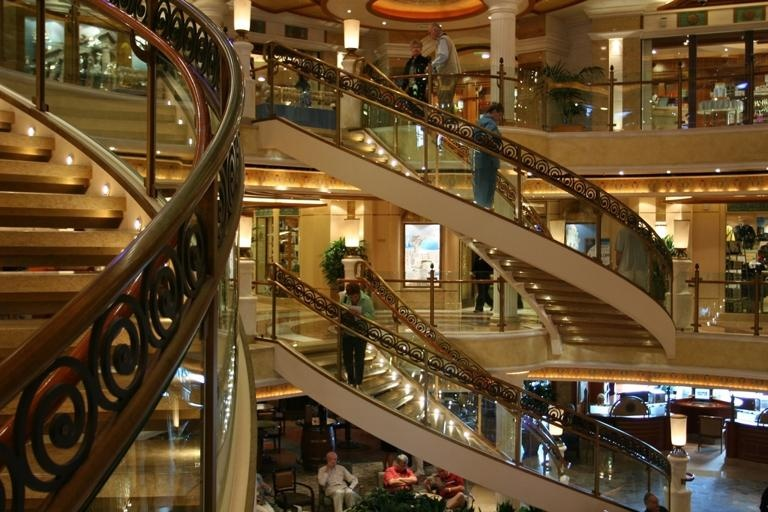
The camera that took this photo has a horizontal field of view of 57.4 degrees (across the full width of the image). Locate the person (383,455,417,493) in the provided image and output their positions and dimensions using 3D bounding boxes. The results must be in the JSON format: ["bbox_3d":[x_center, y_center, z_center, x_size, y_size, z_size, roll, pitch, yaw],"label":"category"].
[{"bbox_3d":[0.230,3.476,10.798,0.477,0.797,0.388,2,-7,-15],"label":"person"}]

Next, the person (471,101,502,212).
[{"bbox_3d":[1.298,-1.247,8.981,0.332,1.284,0.733,1,4,8],"label":"person"}]

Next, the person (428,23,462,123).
[{"bbox_3d":[0.859,-2.740,10.166,0.419,1.429,0.899,1,4,5],"label":"person"}]

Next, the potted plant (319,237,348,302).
[{"bbox_3d":[-1.156,0.317,14.780,0.675,1.123,0.708,-2,4,-40],"label":"potted plant"}]

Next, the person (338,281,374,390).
[{"bbox_3d":[-0.381,1.047,9.364,0.388,1.269,0.645,0,4,1],"label":"person"}]

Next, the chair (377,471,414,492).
[{"bbox_3d":[0.186,3.423,10.751,0.556,0.256,0.559,-2,-2,1],"label":"chair"}]

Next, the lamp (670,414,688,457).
[{"bbox_3d":[5.025,3.057,12.028,0.226,0.717,0.950,2,4,21],"label":"lamp"}]

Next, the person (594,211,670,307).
[{"bbox_3d":[3.311,0.086,9.434,1.815,1.352,0.544,-3,5,-38],"label":"person"}]
